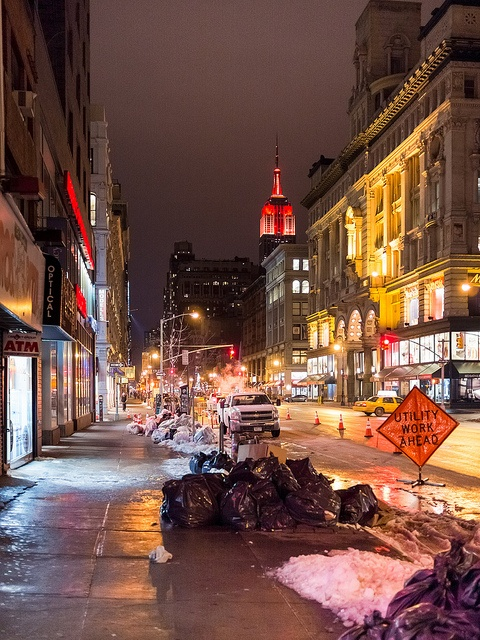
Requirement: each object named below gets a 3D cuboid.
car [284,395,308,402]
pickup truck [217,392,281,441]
[{"bbox_3d":[7.795,10.549,97.918,2.365,1.104,1.256,3,-4,-6],"label":"car"},{"bbox_3d":[0.433,3.460,26.697,1.780,1.801,2.431,-2,-9,-10],"label":"pickup truck"}]
